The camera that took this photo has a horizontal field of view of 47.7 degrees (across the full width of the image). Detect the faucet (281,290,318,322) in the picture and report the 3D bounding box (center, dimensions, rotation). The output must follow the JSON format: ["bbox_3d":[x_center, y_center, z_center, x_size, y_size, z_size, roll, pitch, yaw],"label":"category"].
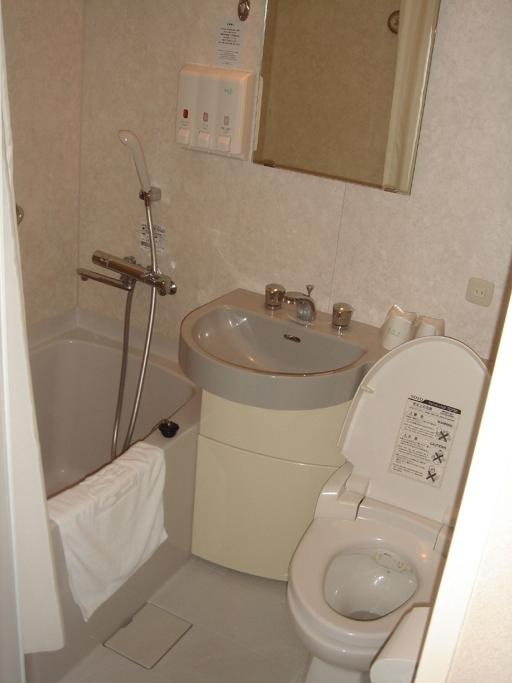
[{"bbox_3d":[0.128,-0.124,1.796,0.061,0.066,0.124,-22,43,-25],"label":"faucet"}]
